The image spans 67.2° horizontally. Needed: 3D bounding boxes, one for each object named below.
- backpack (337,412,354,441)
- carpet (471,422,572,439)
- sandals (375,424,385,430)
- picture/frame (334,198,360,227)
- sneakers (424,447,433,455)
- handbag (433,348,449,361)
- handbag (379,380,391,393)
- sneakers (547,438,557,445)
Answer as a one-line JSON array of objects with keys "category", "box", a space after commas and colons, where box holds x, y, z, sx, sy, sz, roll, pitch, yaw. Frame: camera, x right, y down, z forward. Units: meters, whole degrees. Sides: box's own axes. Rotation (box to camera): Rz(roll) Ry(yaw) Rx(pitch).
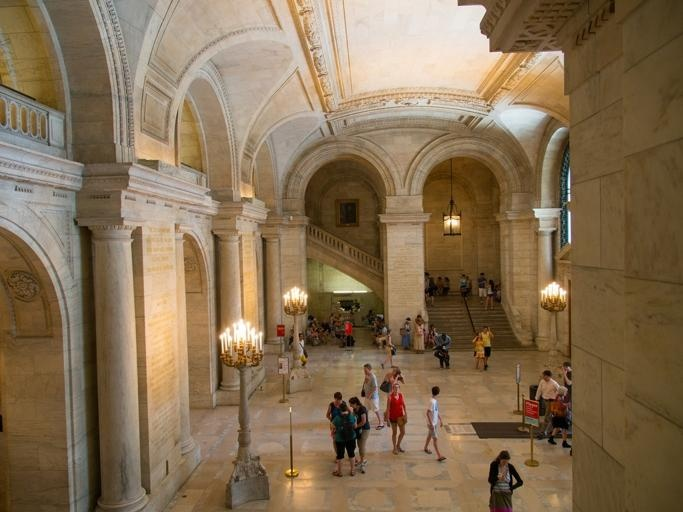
[{"category": "backpack", "box": [0.058, 2.775, 8.384, 0.321, 0.517, 0.166, -2, 3, -5]}, {"category": "carpet", "box": [3.132, 3.417, 10.188, 1.036, 0.055, 0.913, -1, 3, 4]}, {"category": "sandals", "box": [0.784, 3.464, 10.410, 0.200, 0.067, 0.213, -2, 3, -3]}, {"category": "picture/frame", "box": [0.288, -2.064, 24.051, 1.250, 1.477, 0.148, 0, -3, -2]}, {"category": "sneakers", "box": [1.562, 3.481, 9.217, 0.145, 0.097, 0.171, -2, 3, -11]}, {"category": "handbag", "box": [2.914, 2.909, 15.190, 0.313, 0.165, 0.436, 31, -27, -15]}, {"category": "handbag", "box": [0.838, 2.471, 9.719, 0.178, 0.266, 0.363, -1, 3, 3]}, {"category": "sneakers", "box": [3.922, 3.443, 9.584, 0.200, 0.182, 0.071, -2, 6, -22]}]
